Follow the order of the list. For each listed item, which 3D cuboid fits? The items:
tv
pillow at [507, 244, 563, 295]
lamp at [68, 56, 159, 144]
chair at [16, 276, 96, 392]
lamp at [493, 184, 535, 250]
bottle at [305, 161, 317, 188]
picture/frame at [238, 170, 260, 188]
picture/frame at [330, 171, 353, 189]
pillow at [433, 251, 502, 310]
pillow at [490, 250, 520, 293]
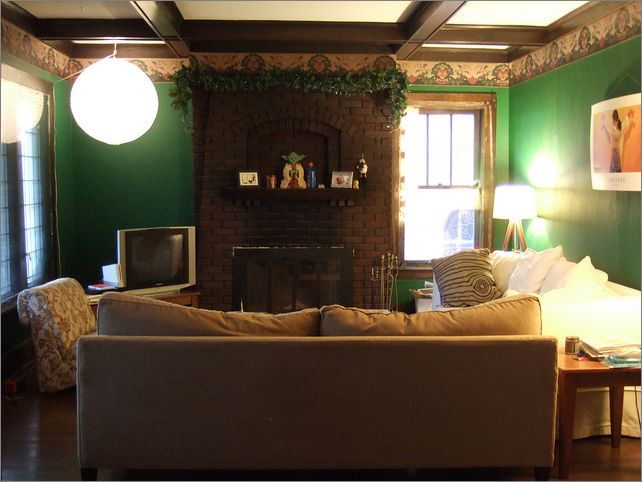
[{"bbox_3d":[-1.830,0.189,6.151,1.043,0.977,0.593,-1,3,-34],"label":"tv"},{"bbox_3d":[1.866,0.279,4.880,0.128,0.466,0.434,18,-16,-15],"label":"pillow"},{"bbox_3d":[-1.492,-1.017,4.288,0.641,0.637,0.595,-12,8,6],"label":"lamp"},{"bbox_3d":[-2.237,0.807,4.652,0.423,0.811,0.859,0,2,-9],"label":"chair"},{"bbox_3d":[2.178,-0.274,6.261,0.455,0.771,0.572,2,3,19],"label":"lamp"},{"bbox_3d":[-0.114,-0.738,6.230,0.124,0.306,0.179,1,2,-3],"label":"bottle"},{"bbox_3d":[-0.818,-0.686,6.157,0.173,0.169,0.014,-1,4,-7],"label":"picture/frame"},{"bbox_3d":[0.224,-0.674,6.177,0.180,0.177,0.020,1,-9,1],"label":"picture/frame"},{"bbox_3d":[1.303,0.366,5.044,0.475,0.531,0.159,-19,-36,13],"label":"pillow"},{"bbox_3d":[1.762,0.276,5.385,0.100,0.352,0.357,15,26,-11],"label":"pillow"}]
